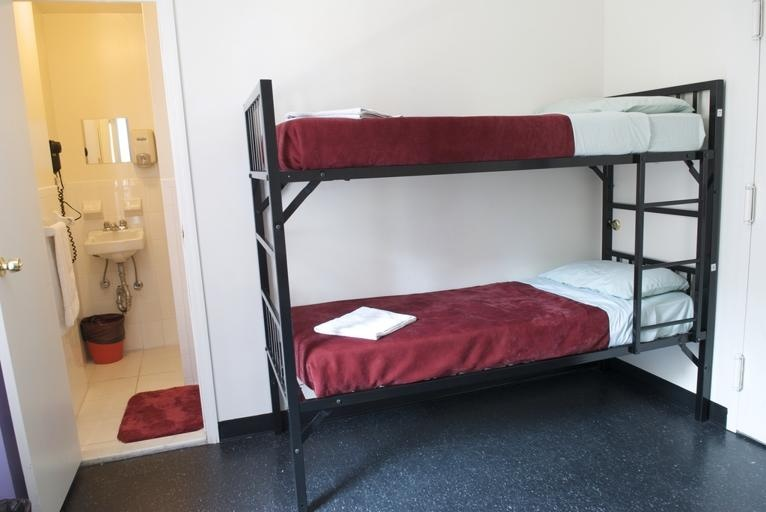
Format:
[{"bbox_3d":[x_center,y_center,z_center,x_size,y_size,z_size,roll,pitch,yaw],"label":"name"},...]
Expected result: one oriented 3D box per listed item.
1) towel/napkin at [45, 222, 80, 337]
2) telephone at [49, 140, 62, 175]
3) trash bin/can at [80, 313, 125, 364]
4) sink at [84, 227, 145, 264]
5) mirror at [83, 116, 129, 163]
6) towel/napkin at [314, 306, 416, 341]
[{"bbox_3d":[-2.659,0.182,4.869,0.178,0.946,0.374,-12,16,-25],"label":"towel/napkin"},{"bbox_3d":[-3.060,-0.936,5.466,0.111,0.316,0.357,-13,17,-26],"label":"telephone"},{"bbox_3d":[-2.747,0.804,5.733,0.414,0.459,0.294,-9,15,-14],"label":"trash bin/can"},{"bbox_3d":[-2.560,-0.121,5.570,0.502,0.293,0.335,-6,12,-24],"label":"sink"},{"bbox_3d":[-2.731,-1.150,5.687,0.451,0.442,0.048,-2,3,-16],"label":"mirror"},{"bbox_3d":[-0.133,0.473,4.001,0.616,0.062,0.397,1,16,25],"label":"towel/napkin"}]
